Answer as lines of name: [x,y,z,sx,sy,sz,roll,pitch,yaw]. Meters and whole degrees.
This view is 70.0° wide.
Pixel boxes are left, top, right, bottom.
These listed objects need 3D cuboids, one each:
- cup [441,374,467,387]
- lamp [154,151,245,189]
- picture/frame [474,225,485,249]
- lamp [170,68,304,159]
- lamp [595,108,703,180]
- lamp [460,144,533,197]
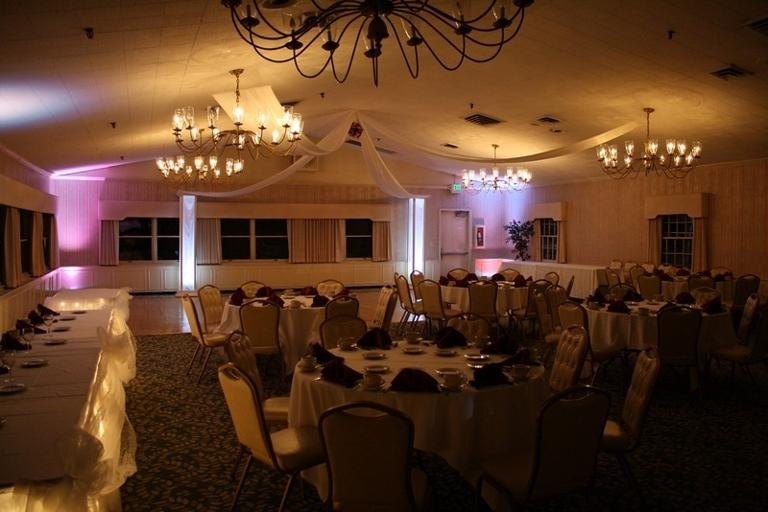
cup: [0.609,1.073,4.762,0.148,0.070,0.118,1,-5,-11]
lamp: [-4.269,-2.008,12.629,1.797,0.661,1.825,0,1,-11]
picture/frame: [2.993,-0.605,17.335,0.362,0.714,0.109,-3,2,-23]
lamp: [-2.322,-2.298,8.713,2.045,1.245,2.093,2,5,33]
lamp: [4.728,-2.061,9.824,1.640,1.135,1.683,1,3,8]
lamp: [2.639,-2.158,13.153,1.564,0.991,1.593,1,5,39]
